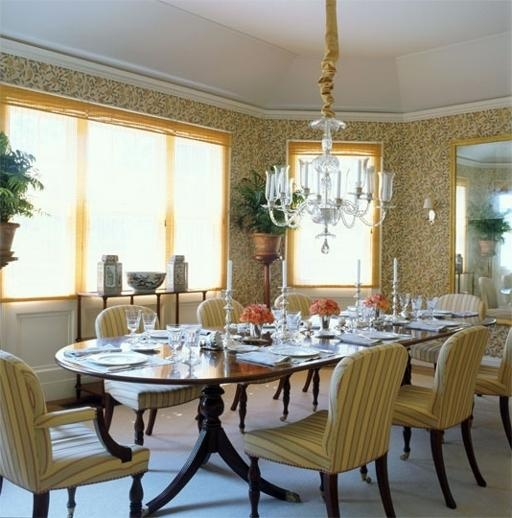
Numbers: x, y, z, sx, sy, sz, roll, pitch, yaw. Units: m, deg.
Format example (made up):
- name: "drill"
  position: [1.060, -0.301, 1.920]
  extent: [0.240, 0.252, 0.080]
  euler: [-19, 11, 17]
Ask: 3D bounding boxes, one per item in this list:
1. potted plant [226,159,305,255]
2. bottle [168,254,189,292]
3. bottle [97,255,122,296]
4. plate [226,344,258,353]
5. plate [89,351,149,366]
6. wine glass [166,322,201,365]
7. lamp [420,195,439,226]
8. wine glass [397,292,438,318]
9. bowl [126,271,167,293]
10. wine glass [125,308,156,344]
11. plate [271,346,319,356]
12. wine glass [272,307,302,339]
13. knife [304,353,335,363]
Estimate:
- name: "potted plant"
  position: [0.118, -0.558, 5.991]
  extent: [1.022, 0.937, 0.954]
  euler: [-3, -5, 37]
- name: "bottle"
  position: [-0.787, 0.144, 4.822]
  extent: [0.257, 0.364, 0.229]
  euler: [-3, 3, -28]
- name: "bottle"
  position: [-1.311, 0.144, 4.259]
  extent: [0.224, 0.357, 0.290]
  euler: [-2, 3, -18]
- name: "plate"
  position: [-0.078, 0.482, 2.595]
  extent: [0.167, 0.013, 0.206]
  euler: [-1, 2, -1]
- name: "plate"
  position: [-0.652, 0.474, 2.254]
  extent: [0.268, 0.026, 0.263]
  euler: [-2, 2, -21]
- name: "wine glass"
  position: [-0.361, 0.397, 2.350]
  extent: [0.186, 0.202, 0.215]
  euler: [0, -2, 21]
- name: "lamp"
  position: [2.167, -0.605, 5.975]
  extent: [0.176, 0.343, 0.113]
  euler: [1, 3, 36]
- name: "wine glass"
  position: [1.502, 0.426, 4.425]
  extent: [0.361, 0.256, 0.381]
  euler: [3, -5, -18]
- name: "bowl"
  position: [-1.045, 0.205, 4.453]
  extent: [0.252, 0.108, 0.246]
  euler: [0, -3, 0]
- name: "wine glass"
  position: [-0.683, 0.396, 2.787]
  extent: [0.247, 0.215, 0.167]
  euler: [-4, -8, 32]
- name: "plate"
  position: [0.204, 0.478, 2.491]
  extent: [0.257, 0.023, 0.229]
  euler: [-1, 2, -10]
- name: "wine glass"
  position: [0.149, 0.381, 2.879]
  extent: [0.213, 0.192, 0.193]
  euler: [2, -5, -12]
- name: "knife"
  position: [0.321, 0.492, 2.382]
  extent: [0.090, 0.008, 0.205]
  euler: [0, 2, 37]
